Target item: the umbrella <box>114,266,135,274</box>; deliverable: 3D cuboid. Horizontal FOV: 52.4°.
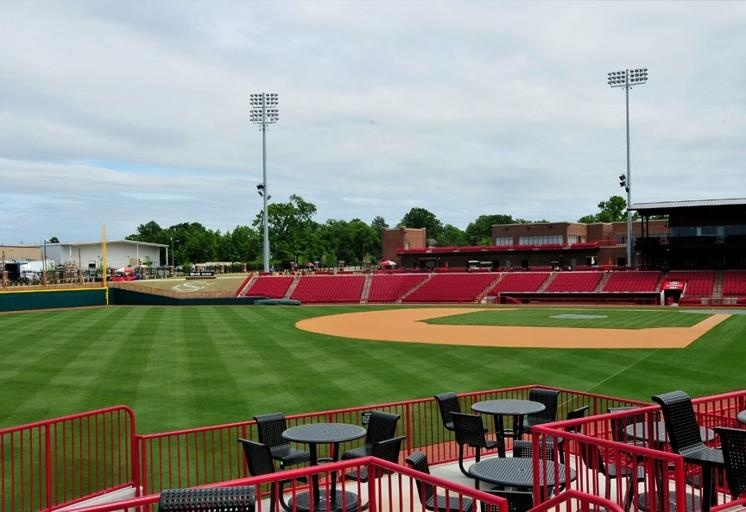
[{"bbox_3d":[-28.403,1.710,87.066,2.484,0.816,2.209,0,-2,7],"label":"umbrella"}]
